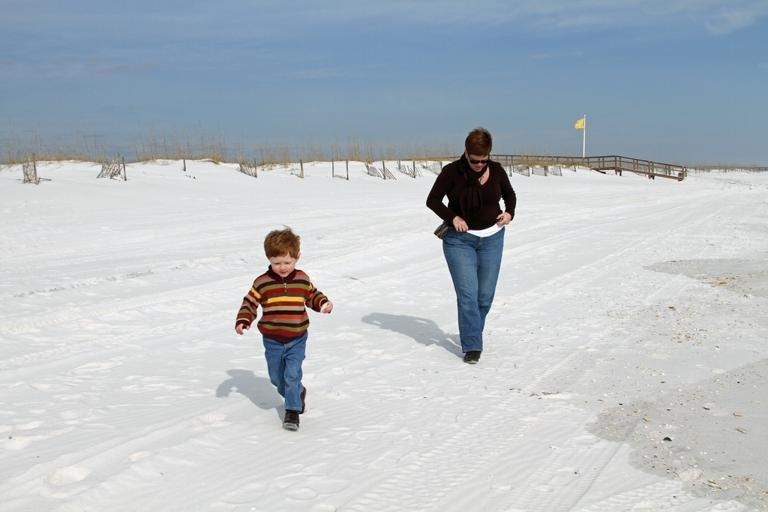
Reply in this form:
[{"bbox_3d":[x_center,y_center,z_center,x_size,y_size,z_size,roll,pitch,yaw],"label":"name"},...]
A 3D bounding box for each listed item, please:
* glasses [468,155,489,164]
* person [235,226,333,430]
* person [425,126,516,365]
[{"bbox_3d":[1.047,-1.075,6.917,0.208,0.109,0.249,-1,14,4],"label":"glasses"},{"bbox_3d":[-0.896,0.714,5.715,0.838,1.919,0.373,-6,17,-12],"label":"person"},{"bbox_3d":[1.090,-0.100,7.243,0.865,2.757,0.685,-12,19,-29],"label":"person"}]
